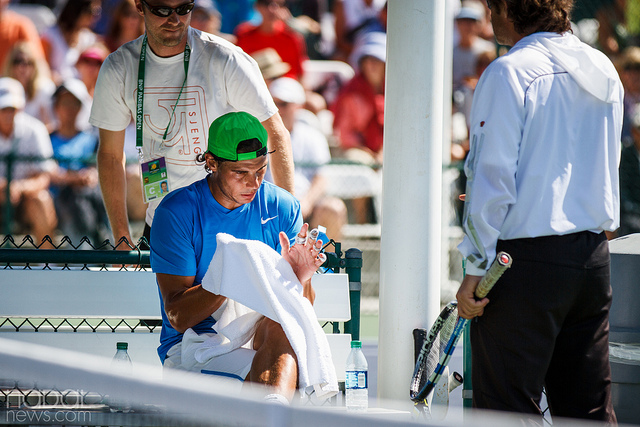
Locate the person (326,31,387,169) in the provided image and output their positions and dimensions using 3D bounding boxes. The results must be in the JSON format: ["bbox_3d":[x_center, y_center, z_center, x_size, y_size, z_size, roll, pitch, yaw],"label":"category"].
[{"bbox_3d":[0.377,-1.238,13.192,0.641,1.314,0.901,-2,1,1],"label":"person"}]

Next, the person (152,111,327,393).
[{"bbox_3d":[-0.575,0.255,8.443,1.094,1.812,0.692,-2,1,-9],"label":"person"}]

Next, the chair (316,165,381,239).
[{"bbox_3d":[0.327,-0.135,12.322,0.610,0.571,0.655,1,6,-4],"label":"chair"}]

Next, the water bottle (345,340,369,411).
[{"bbox_3d":[0.256,1.156,8.955,0.141,0.474,0.168,0,-2,-2],"label":"water bottle"}]

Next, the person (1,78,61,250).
[{"bbox_3d":[-2.807,-0.481,12.142,0.544,1.637,1.273,-2,1,-13],"label":"person"}]

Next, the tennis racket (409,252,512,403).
[{"bbox_3d":[0.946,0.789,8.489,0.093,0.373,1.232,24,-32,-1],"label":"tennis racket"}]
